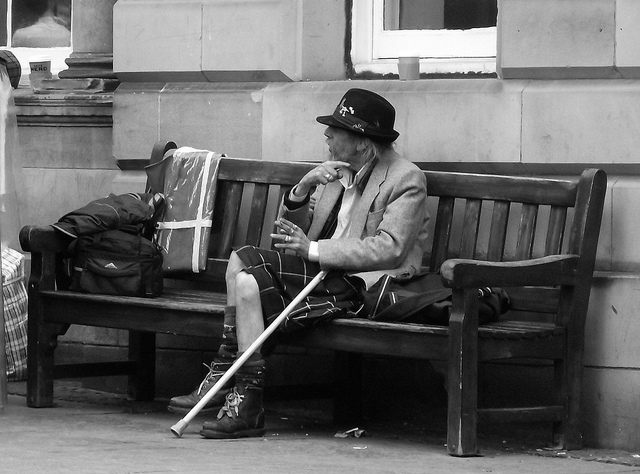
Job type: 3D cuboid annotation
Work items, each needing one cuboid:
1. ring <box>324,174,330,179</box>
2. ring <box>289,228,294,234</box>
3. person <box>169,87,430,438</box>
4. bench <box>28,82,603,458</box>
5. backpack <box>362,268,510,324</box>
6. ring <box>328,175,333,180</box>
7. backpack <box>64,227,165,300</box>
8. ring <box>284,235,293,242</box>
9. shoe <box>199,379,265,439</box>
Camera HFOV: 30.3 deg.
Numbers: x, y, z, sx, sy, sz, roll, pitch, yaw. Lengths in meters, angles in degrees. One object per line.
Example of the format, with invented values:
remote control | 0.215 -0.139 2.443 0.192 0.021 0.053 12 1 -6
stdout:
ring | 0.038 -0.321 6.255 0.024 0.022 0.007 -2 -7 34
ring | -0.147 -0.030 6.135 0.027 0.020 0.007 -39 -40 19
person | 0.012 0.000 6.213 1.088 1.586 0.615 3 3 5
bench | -0.086 0.316 6.410 2.967 1.533 1.026 3 -1 41
backpack | 0.649 0.293 6.203 0.679 0.194 0.680 10 -1 -44
ring | 0.057 -0.315 6.246 0.027 0.024 0.005 4 4 37
backpack | -1.167 0.137 6.768 0.565 0.394 0.320 7 13 8
ring | -0.162 0.010 6.140 0.022 0.011 0.031 7 27 -19
shoe | -0.398 0.881 5.926 0.425 0.326 0.180 7 -7 -34
